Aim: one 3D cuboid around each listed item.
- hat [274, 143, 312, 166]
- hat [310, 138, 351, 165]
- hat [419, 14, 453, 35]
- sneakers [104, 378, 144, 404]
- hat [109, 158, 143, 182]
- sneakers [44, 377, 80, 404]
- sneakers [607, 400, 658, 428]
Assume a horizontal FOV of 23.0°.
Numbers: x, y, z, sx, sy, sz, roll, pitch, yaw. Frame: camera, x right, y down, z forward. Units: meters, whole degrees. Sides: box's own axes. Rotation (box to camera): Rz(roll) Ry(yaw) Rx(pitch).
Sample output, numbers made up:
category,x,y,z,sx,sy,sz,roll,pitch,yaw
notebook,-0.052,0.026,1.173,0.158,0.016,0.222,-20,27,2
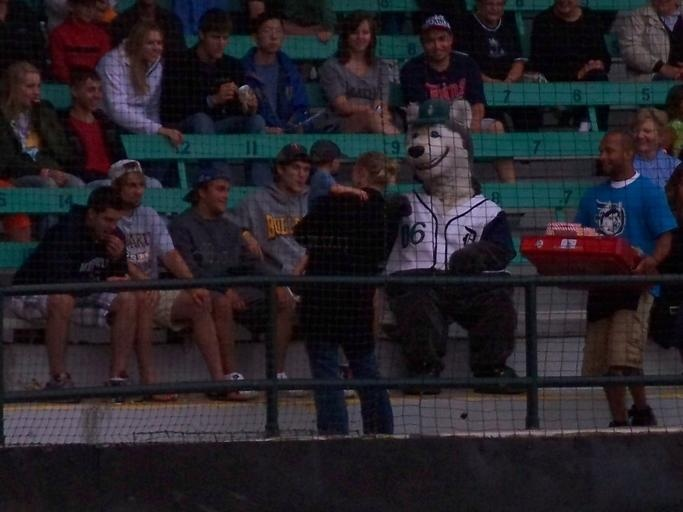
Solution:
category,x,y,z,sx,sy,sz,roll,pitch,yaw
hat,-0.406,-0.820,13.615,0.279,0.158,0.181,-4,14,-5
hat,-0.101,-0.832,13.511,0.253,0.125,0.179,-6,16,-19
hat,0.800,-1.972,14.338,0.191,0.127,0.252,-1,-10,2
sneakers,-1.675,1.031,12.680,0.228,0.196,0.202,1,0,11
hat,-1.798,-0.702,13.635,0.267,0.204,0.198,-21,-12,35
sneakers,-2.143,1.011,12.706,0.238,0.226,0.216,2,-18,-15
sneakers,2.173,1.229,12.719,0.443,0.177,0.147,1,-6,0
